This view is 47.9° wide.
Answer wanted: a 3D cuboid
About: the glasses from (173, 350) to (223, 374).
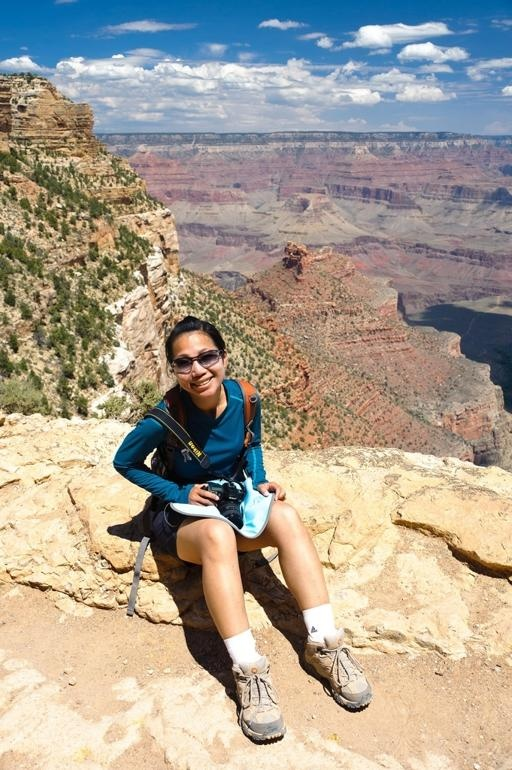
[{"bbox_3d":[-0.445,-0.188,4.530,0.412,0.164,0.191,-7,25,-20],"label":"glasses"}]
